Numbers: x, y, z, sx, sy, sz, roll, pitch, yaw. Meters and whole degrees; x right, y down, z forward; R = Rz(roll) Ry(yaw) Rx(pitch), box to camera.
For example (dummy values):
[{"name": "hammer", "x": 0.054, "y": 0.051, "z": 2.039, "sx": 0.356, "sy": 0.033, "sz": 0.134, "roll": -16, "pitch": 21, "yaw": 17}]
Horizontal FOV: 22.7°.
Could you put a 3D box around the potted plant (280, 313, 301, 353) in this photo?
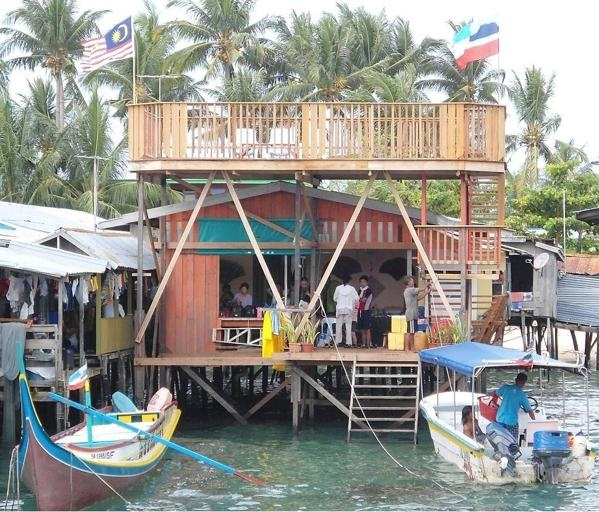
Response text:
[{"name": "potted plant", "x": -0.189, "y": 2.078, "z": 38.182, "sx": 0.513, "sy": 1.061, "sz": 1.025, "roll": 0, "pitch": -5, "yaw": 1}]

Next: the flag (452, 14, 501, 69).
[{"name": "flag", "x": 4.718, "y": -5.627, "z": 39.592, "sx": 1.114, "sy": 1.277, "sz": 0.807, "roll": -1, "pitch": -5, "yaw": 2}]

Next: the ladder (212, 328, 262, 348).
[{"name": "ladder", "x": -1.650, "y": 2.287, "z": 39.400, "sx": 1.611, "sy": 0.524, "sz": 0.597, "roll": 1, "pitch": -2, "yaw": 9}]

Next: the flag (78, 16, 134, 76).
[{"name": "flag", "x": -5.277, "y": -5.945, "z": 41.557, "sx": 1.651, "sy": 1.371, "sz": 0.650, "roll": -4, "pitch": -6, "yaw": 34}]

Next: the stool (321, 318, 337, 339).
[{"name": "stool", "x": 0.796, "y": 2.053, "z": 39.746, "sx": 0.456, "sy": 0.511, "sz": 0.851, "roll": -3, "pitch": -5, "yaw": 4}]

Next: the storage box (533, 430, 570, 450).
[{"name": "storage box", "x": 5.737, "y": 4.344, "z": 33.773, "sx": 0.773, "sy": 0.445, "sz": 0.288, "roll": -1, "pitch": -5, "yaw": 7}]

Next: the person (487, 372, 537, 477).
[{"name": "person", "x": 4.934, "y": 4.068, "z": 34.541, "sx": 1.071, "sy": 2.295, "sz": 1.036, "roll": -1, "pitch": 0, "yaw": 11}]

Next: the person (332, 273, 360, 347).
[{"name": "person", "x": 1.272, "y": 1.556, "z": 39.113, "sx": 0.599, "sy": 1.893, "sz": 0.560, "roll": 3, "pitch": -2, "yaw": 15}]

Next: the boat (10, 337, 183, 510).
[{"name": "boat", "x": -4.654, "y": 4.095, "z": 34.060, "sx": 2.095, "sy": 3.613, "sz": 4.735, "roll": -2, "pitch": -6, "yaw": 20}]

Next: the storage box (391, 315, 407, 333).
[{"name": "storage box", "x": 2.582, "y": 1.873, "z": 38.263, "sx": 0.359, "sy": 0.414, "sz": 0.362, "roll": 3, "pitch": 2, "yaw": 29}]

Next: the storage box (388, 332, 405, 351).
[{"name": "storage box", "x": 2.503, "y": 2.317, "z": 38.129, "sx": 0.368, "sy": 0.463, "sz": 0.406, "roll": 0, "pitch": -1, "yaw": -4}]

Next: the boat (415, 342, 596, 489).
[{"name": "boat", "x": 4.734, "y": 3.727, "z": 36.099, "sx": 2.215, "sy": 3.282, "sz": 5.373, "roll": -1, "pitch": 5, "yaw": -15}]

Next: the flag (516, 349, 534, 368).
[{"name": "flag", "x": 5.272, "y": 2.526, "z": 34.563, "sx": 0.373, "sy": 0.381, "sz": 0.445, "roll": -2, "pitch": -6, "yaw": 17}]

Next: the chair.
[{"name": "chair", "x": -0.422, "y": -2.877, "z": 38.120, "sx": 2.313, "sy": 0.895, "sz": 0.590, "roll": 0, "pitch": -5, "yaw": -3}]
